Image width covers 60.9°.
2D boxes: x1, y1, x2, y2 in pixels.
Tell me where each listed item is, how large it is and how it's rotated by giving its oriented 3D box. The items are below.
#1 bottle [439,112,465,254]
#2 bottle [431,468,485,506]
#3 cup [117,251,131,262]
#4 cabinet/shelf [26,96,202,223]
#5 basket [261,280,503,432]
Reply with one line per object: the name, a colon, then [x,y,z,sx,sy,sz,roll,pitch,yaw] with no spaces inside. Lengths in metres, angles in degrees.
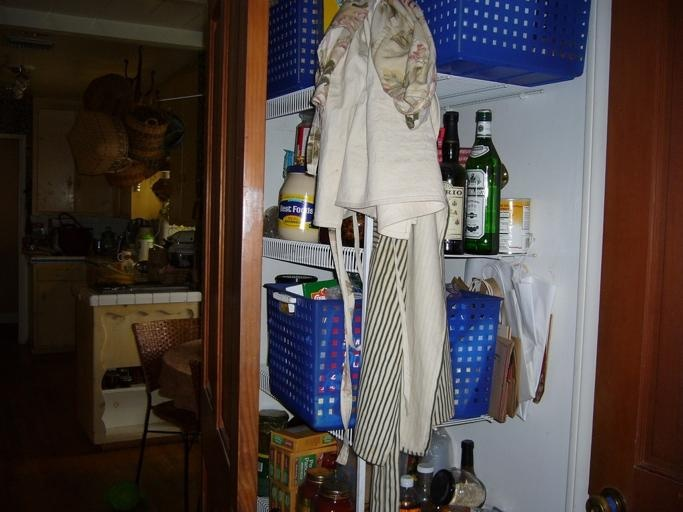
bottle: [0.309,-0.201,1.603,0.069,0.391,0.080,1,4,11]
bottle: [0.337,0.675,1.694,0.103,0.112,0.157,8,-4,36]
cup: [-1.563,0.001,4.187,0.102,0.080,0.085,0,0,-19]
cabinet/shelf: [-2.031,-0.860,5.198,1.312,1.080,0.492,3,-1,20]
basket: [0.113,0.191,1.646,0.436,0.317,0.458,0,3,-25]
